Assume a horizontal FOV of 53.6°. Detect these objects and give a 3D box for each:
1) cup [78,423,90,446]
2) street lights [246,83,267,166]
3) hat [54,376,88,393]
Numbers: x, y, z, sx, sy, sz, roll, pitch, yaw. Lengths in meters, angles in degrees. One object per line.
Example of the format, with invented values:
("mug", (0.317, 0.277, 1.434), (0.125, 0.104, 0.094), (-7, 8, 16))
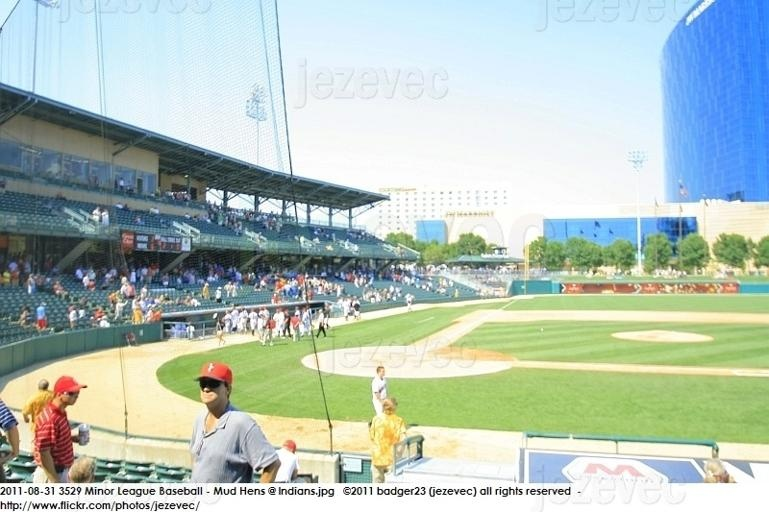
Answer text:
("cup", (-9.387, 5.602, 23.772), (0.307, 0.610, 0.335), (-1, -4, 0))
("street lights", (-3.903, -4.039, 23.315), (0.552, 2.701, 0.615), (-12, -17, 38))
("hat", (-9.656, 3.943, 23.219), (0.827, 0.414, 0.571), (4, 1, -1))
